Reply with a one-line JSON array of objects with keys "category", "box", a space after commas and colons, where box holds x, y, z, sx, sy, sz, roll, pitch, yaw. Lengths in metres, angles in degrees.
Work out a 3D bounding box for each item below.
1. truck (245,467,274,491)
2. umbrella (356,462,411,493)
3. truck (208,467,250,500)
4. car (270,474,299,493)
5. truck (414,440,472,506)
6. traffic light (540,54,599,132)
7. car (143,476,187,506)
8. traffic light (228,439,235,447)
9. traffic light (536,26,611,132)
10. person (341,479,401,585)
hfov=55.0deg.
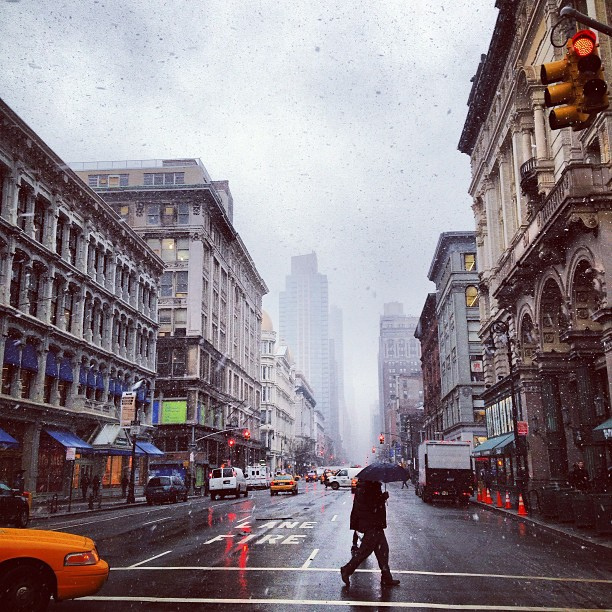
[{"category": "truck", "box": [-5.304, 18.637, 64.883, 2.410, 2.301, 4.176, -1, -12, 3]}, {"category": "umbrella", "box": [1.362, 2.897, 10.224, 0.606, 0.463, 0.669, -1, -11, -1]}, {"category": "truck", "box": [-5.728, 13.377, 44.831, 1.650, 1.697, 3.698, -3, -13, 6]}, {"category": "car", "box": [-1.869, 15.546, 51.712, 1.920, 1.656, 2.295, -7, -20, 10]}, {"category": "truck", "box": [8.338, 9.792, 35.818, 2.288, 2.881, 4.912, 0, -11, 4]}, {"category": "traffic light", "box": [3.396, -2.757, 7.617, 0.459, 1.040, 0.314, -9, -12, 11]}, {"category": "car", "box": [-9.364, 12.311, 39.584, 1.458, 2.025, 3.868, -7, -21, 12]}, {"category": "traffic light", "box": [-7.349, 13.380, 57.895, 0.768, 0.914, 1.518, 2, -12, -6]}, {"category": "traffic light", "box": [3.482, -3.057, 7.668, 0.785, 1.516, 0.729, -9, -19, 18]}, {"category": "person", "box": [1.099, 3.710, 10.085, 0.859, 1.972, 0.699, 0, -20, 3]}]
